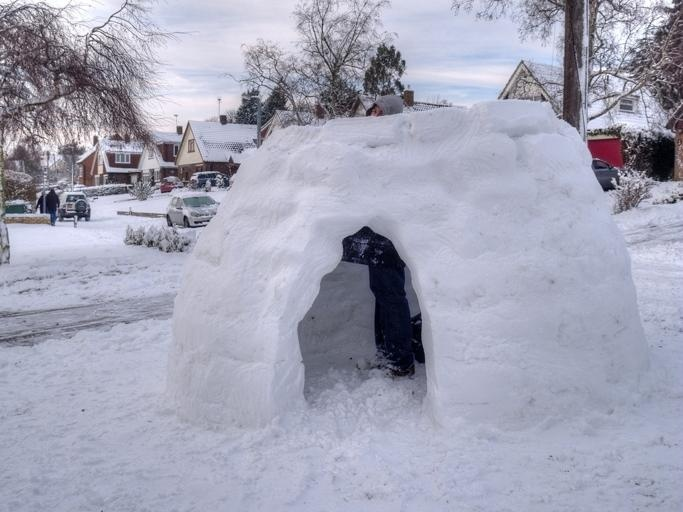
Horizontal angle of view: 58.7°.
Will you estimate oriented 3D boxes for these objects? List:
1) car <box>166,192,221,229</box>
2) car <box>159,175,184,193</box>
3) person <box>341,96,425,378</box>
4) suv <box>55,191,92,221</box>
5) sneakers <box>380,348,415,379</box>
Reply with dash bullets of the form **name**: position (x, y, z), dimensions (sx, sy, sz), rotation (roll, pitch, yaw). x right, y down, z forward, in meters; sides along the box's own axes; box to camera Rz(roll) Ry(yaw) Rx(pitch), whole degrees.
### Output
- **car**: position (-5.890, -1.722, 23.834), dimensions (1.618, 1.188, 3.132), rotation (-8, 13, -24)
- **car**: position (-13.505, -5.621, 47.800), dimensions (1.391, 1.312, 2.479), rotation (-5, 15, -11)
- **person**: position (0.324, 0.221, 7.588), dimensions (0.854, 0.870, 2.854), rotation (2, 45, -3)
- **suv**: position (-14.283, -2.706, 32.458), dimensions (1.115, 1.124, 2.352), rotation (-4, 11, -25)
- **sneakers**: position (0.679, 1.287, 7.225), dimensions (0.266, 0.148, 0.374), rotation (3, 10, 8)
